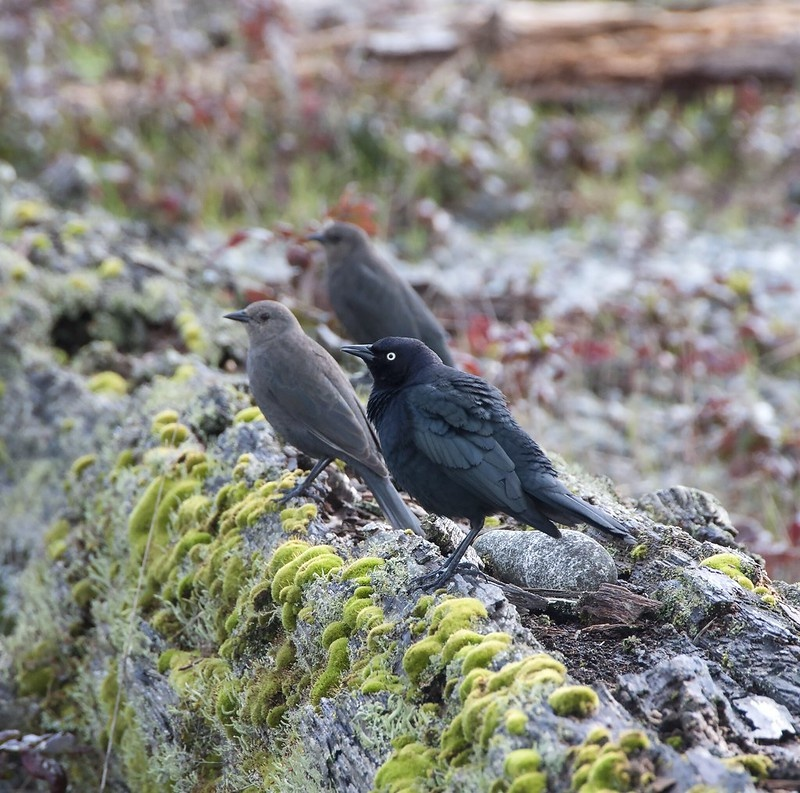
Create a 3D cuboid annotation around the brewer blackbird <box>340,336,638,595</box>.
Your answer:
[{"bbox_3d":[0.397,0.250,5.232,1.379,0.958,0.505,3,3,30],"label":"brewer blackbird"}]
